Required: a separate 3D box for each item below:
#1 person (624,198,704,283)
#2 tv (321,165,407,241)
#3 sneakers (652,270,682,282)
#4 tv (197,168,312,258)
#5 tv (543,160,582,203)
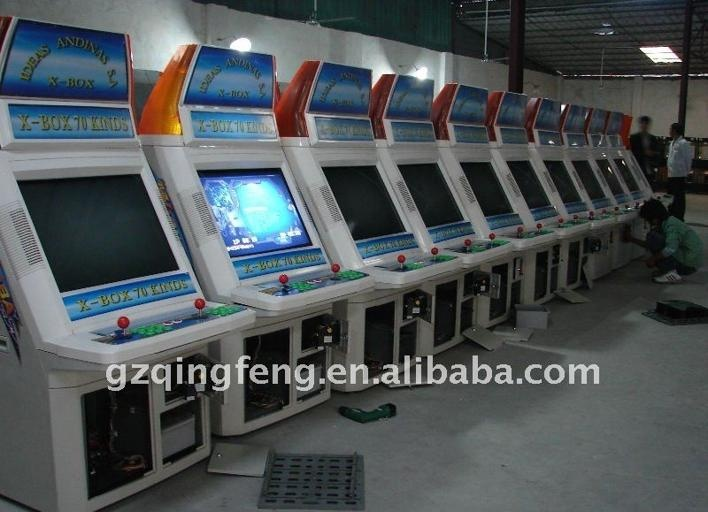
[{"bbox_3d":[3.891,-0.200,6.747,1.233,1.192,0.885,2,7,29],"label":"person"},{"bbox_3d":[-0.038,-0.331,3.799,0.151,0.559,0.666,-32,-9,40],"label":"tv"},{"bbox_3d":[3.895,0.251,6.260,0.351,0.213,0.137,4,12,32],"label":"sneakers"},{"bbox_3d":[-0.603,-0.286,3.107,0.584,0.470,0.337,-12,19,-43],"label":"tv"},{"bbox_3d":[2.505,-0.880,6.091,0.568,0.453,0.129,13,-38,-44],"label":"tv"}]
